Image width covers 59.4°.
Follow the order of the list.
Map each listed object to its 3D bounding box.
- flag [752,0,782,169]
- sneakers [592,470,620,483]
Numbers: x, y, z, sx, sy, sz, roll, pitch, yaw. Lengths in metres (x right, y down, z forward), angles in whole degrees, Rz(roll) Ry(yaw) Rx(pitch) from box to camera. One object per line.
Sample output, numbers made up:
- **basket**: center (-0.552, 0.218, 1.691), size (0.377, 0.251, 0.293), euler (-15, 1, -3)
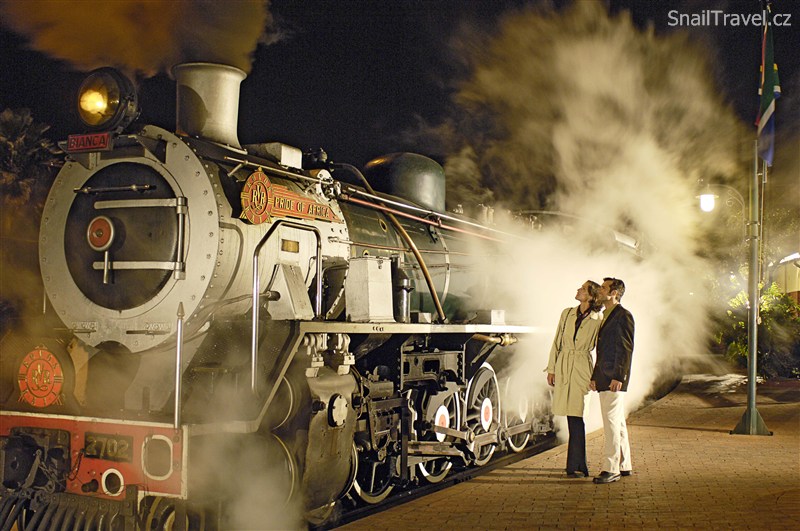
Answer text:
- **flag**: center (6.871, -3.495, 13.245), size (0.477, 3.118, 0.619), euler (-7, -11, 27)
- **sneakers**: center (2.646, 2.710, 9.007), size (0.362, 0.151, 0.136), euler (9, -14, -29)
